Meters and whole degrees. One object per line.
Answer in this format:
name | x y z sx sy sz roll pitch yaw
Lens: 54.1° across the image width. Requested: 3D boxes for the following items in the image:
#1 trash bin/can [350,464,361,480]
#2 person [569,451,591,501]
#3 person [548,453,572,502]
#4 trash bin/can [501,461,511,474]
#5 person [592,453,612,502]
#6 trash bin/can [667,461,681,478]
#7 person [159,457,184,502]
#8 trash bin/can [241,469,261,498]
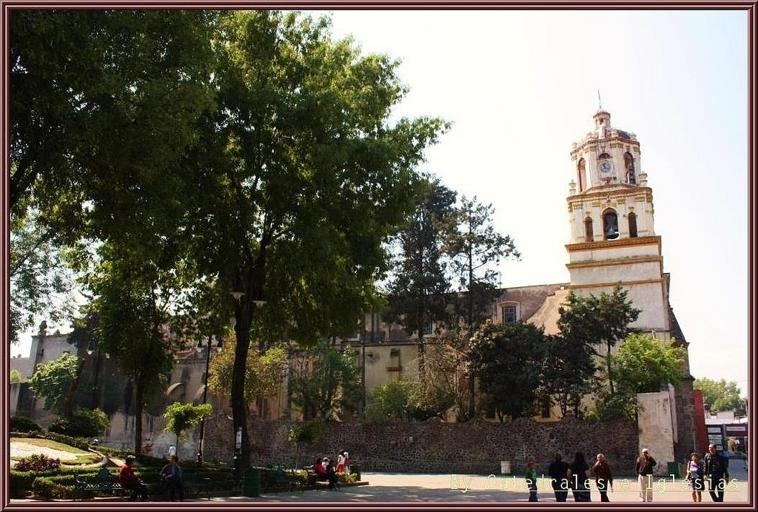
trash bin/can | -1.235 11.188 38.265 0.511 0.777 0.910 0 -16 -1
person | 7.544 8.601 27.957 0.703 2.623 0.687 -2 10 17
person | 6.874 8.420 28.204 0.684 1.721 1.493 -4 -16 14
trash bin/can | 7.973 13.339 46.742 0.663 0.833 0.704 2 -16 -5
person | 8.497 8.501 28.250 0.671 1.929 0.531 -3 8 16
trash bin/can | 16.869 12.246 42.478 0.678 0.873 0.665 -6 -17 22
person | -8.130 8.801 29.401 0.944 1.698 1.471 4 -16 -15
trash bin/can | -5.256 9.675 31.674 0.884 1.067 0.976 0 -15 2
